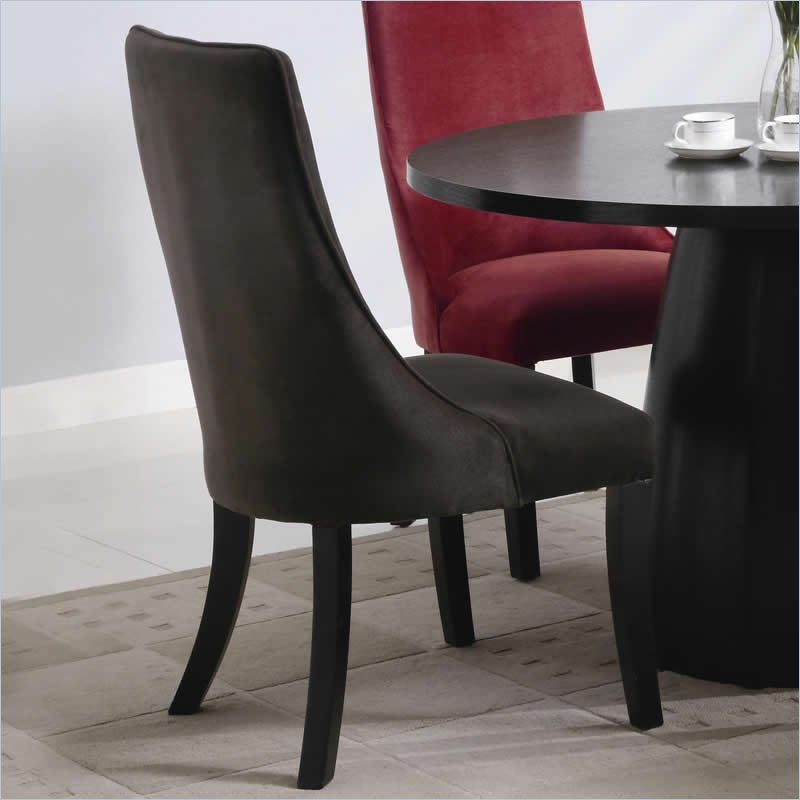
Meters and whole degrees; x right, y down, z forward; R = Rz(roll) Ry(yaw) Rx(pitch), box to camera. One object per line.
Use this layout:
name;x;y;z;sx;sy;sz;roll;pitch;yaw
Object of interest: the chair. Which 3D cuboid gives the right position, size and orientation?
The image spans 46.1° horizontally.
chair;0.008;-0.002;1.138;0.520;0.872;0.340;-9;14;-28
